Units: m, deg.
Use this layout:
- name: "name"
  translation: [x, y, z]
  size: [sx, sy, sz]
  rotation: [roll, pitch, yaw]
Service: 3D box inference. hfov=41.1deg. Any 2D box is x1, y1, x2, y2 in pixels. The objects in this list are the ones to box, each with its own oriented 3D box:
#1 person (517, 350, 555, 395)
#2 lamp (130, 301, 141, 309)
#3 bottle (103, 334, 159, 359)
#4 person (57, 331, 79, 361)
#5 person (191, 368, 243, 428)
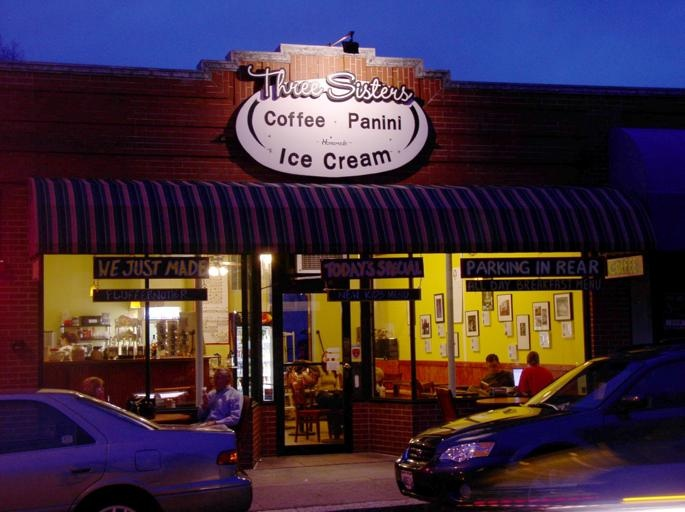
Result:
- name: "person"
  translation: [3.395, 2.040, 15.892]
  size: [0.754, 1.001, 0.577]
  rotation: [0, 7, 12]
- name: "lamp"
  translation: [-3.599, 0.840, 15.878]
  size: [0.147, 0.094, 0.142]
  rotation: [0, -5, -2]
- name: "bottle"
  translation: [-3.580, 1.551, 15.462]
  size: [0.912, 0.372, 0.129]
  rotation: [0, -10, -6]
- name: "person"
  translation: [-4.567, 1.513, 15.159]
  size: [0.411, 0.722, 0.388]
  rotation: [1, -1, -13]
- name: "person"
  translation: [-1.970, 2.257, 14.284]
  size: [0.800, 0.992, 0.719]
  rotation: [3, -4, 40]
